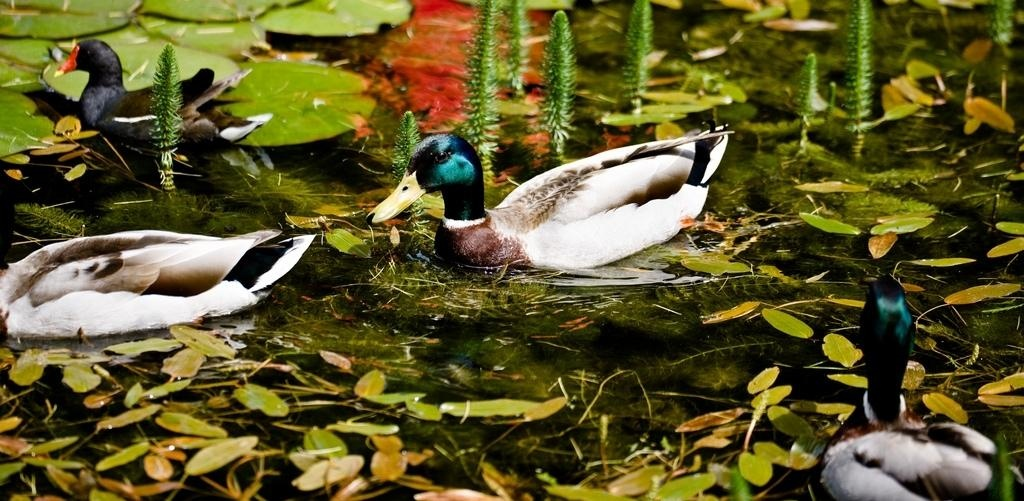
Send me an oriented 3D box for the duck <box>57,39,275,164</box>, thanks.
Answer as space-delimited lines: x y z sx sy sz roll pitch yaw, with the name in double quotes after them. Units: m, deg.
-3.643 -1.532 8.746 2.201 0.662 0.952 18 65 12 "duck"
